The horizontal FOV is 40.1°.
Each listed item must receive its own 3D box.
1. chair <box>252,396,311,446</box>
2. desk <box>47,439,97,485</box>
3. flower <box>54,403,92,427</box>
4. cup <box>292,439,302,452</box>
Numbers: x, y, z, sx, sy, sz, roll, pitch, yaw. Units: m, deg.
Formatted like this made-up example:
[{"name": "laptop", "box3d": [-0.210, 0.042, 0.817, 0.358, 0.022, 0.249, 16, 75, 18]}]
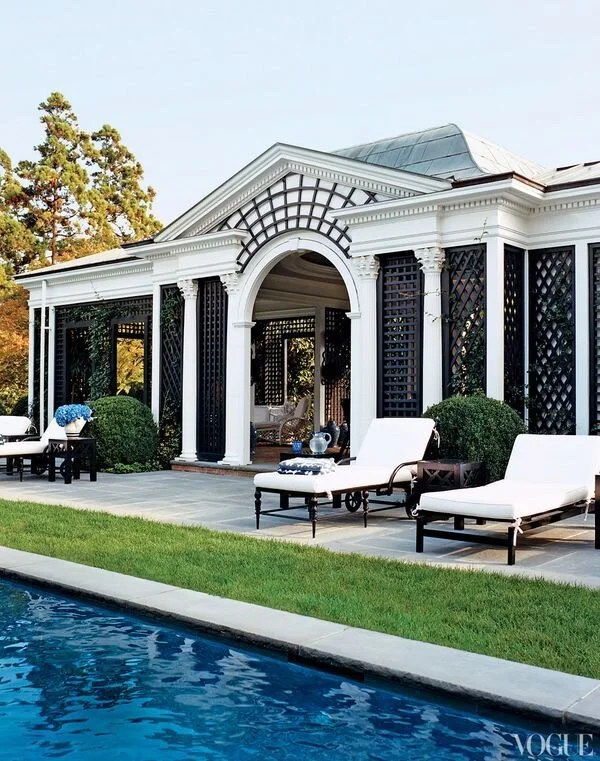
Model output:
[{"name": "chair", "box3d": [-0.095, 0.826, 16.965, 1.324, 0.971, 0.854, 4, -7, -40]}, {"name": "desk", "box3d": [-3.123, 1.001, 10.576, 0.709, 0.554, 0.724, -1, -5, 34]}, {"name": "flower", "box3d": [-2.948, 0.435, 10.707, 0.341, 0.253, 0.338, -4, -1, -7]}, {"name": "cup", "box3d": [-0.015, 0.581, 7.308, 0.110, 0.115, 0.107, -1, 1, 0]}]
